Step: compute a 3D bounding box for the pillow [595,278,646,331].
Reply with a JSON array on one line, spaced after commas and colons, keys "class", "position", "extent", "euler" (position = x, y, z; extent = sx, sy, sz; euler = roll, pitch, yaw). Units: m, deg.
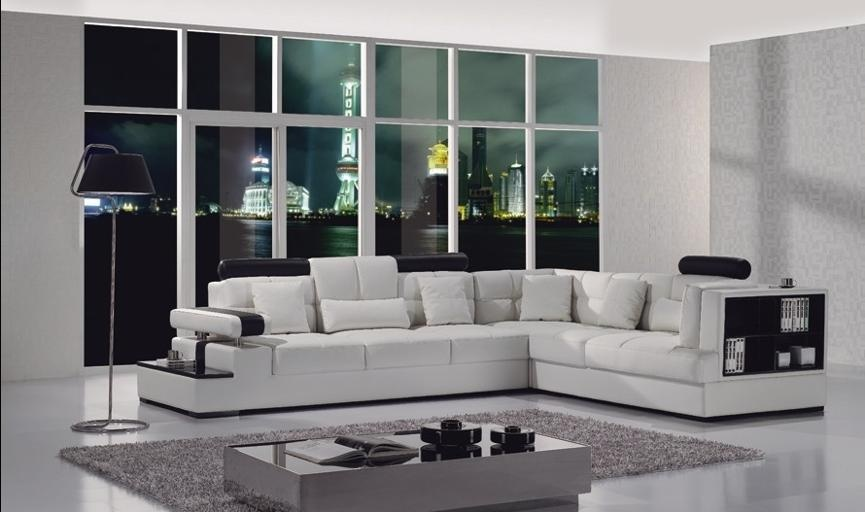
[{"class": "pillow", "position": [2.041, 0.519, 8.241], "extent": [0.544, 0.517, 0.204], "euler": [15, 0, 34]}]

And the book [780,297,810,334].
[{"class": "book", "position": [3.572, 0.595, 7.516], "extent": [0.384, 0.321, 0.087], "euler": [1, 0, -25]}]

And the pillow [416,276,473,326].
[{"class": "pillow", "position": [0.145, 0.512, 8.515], "extent": [0.638, 0.533, 0.190], "euler": [-6, -14, -27]}]

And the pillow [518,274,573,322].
[{"class": "pillow", "position": [1.311, 0.502, 8.783], "extent": [0.565, 0.496, 0.187], "euler": [2, -13, 7]}]

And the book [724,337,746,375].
[{"class": "book", "position": [2.880, 0.953, 7.205], "extent": [0.401, 0.318, 0.119], "euler": [-4, 6, -40]}]

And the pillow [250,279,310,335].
[{"class": "pillow", "position": [-1.594, 0.539, 7.783], "extent": [0.556, 0.504, 0.190], "euler": [-5, -20, -21]}]
